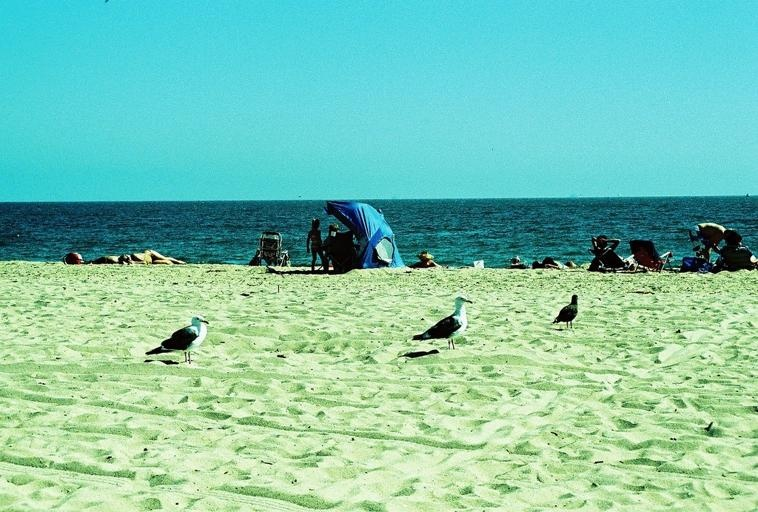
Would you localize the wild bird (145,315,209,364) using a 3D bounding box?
[{"bbox_3d":[-2.967,1.223,14.723,0.824,0.631,0.622,-2,7,-17],"label":"wild bird"}]

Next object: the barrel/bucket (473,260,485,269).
[{"bbox_3d":[2.990,0.271,29.917,0.291,0.283,0.504,1,4,4],"label":"barrel/bucket"}]

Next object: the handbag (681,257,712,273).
[{"bbox_3d":[8.201,0.241,25.868,0.455,0.214,0.617,4,5,30],"label":"handbag"}]

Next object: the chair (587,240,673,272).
[{"bbox_3d":[6.509,-0.057,26.138,1.954,0.857,2.308,1,6,17],"label":"chair"}]

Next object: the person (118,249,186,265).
[{"bbox_3d":[-6.767,0.112,29.572,1.061,0.370,2.316,1,6,15],"label":"person"}]

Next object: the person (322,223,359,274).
[{"bbox_3d":[-0.944,-0.172,25.481,1.219,1.715,1.058,0,4,-2],"label":"person"}]

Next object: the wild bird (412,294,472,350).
[{"bbox_3d":[0.973,1.023,15.400,0.724,0.734,0.738,0,6,7],"label":"wild bird"}]
